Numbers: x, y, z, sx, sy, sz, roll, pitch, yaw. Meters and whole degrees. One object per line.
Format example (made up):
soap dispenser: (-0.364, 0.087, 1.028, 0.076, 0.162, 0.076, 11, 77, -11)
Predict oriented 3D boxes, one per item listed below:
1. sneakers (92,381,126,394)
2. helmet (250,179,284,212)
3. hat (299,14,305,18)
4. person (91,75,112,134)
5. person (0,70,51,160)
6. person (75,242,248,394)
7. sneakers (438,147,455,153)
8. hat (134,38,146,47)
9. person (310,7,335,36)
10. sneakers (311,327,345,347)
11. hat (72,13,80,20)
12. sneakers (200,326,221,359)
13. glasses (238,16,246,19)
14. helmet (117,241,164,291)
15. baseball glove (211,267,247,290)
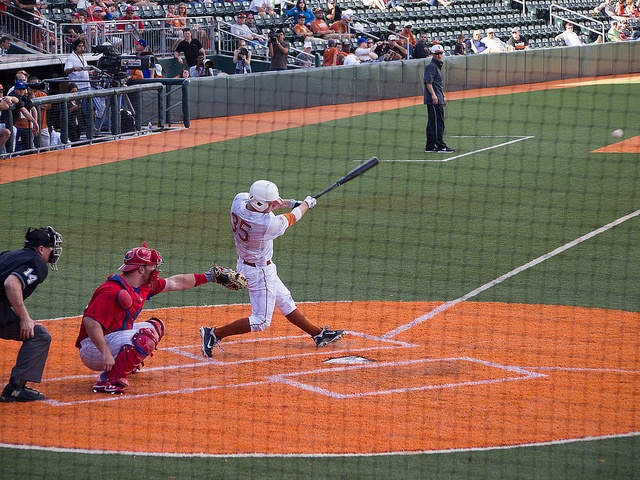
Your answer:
sneakers: (-2.419, 1.660, 12.413, 0.463, 0.202, 0.126, 1, 10, 1)
helmet: (-0.692, -0.513, 13.046, 0.376, 0.353, 0.252, 0, 11, -3)
hat: (-0.605, -6.676, 32.732, 0.209, 0.099, 0.174, -1, 3, -24)
person: (-4.714, -2.916, 23.282, 0.374, 1.223, 1.184, -2, 11, -11)
person: (-5.674, -2.356, 20.773, 0.604, 1.325, 0.925, -3, 12, -12)
person: (-2.052, 0.873, 12.882, 1.309, 1.257, 2.115, 10, 11, 35)
sneakers: (2.632, -1.864, 22.799, 0.444, 0.125, 0.120, 2, 0, 1)
hat: (-4.522, -4.933, 27.494, 0.335, 0.123, 0.186, 13, 22, -2)
person: (-0.014, -6.540, 33.139, 0.682, 0.861, 0.894, 0, 10, 0)
sneakers: (0.056, 1.167, 13.415, 0.472, 0.173, 0.167, -20, 15, 1)
hat: (-6.111, -5.491, 27.081, 0.231, 0.116, 0.251, 2, 27, -3)
sneakers: (-1.323, 1.218, 13.161, 0.295, 0.375, 0.154, -6, 9, 3)
glasses: (-2.328, -6.350, 31.395, 0.138, 0.042, 0.167, -1, -1, -24)
helmet: (-2.028, 0.233, 12.603, 0.641, 0.408, 0.429, -9, 19, -27)
baseball glove: (-1.107, 0.446, 12.959, 0.414, 0.118, 0.280, 18, 1, -1)
